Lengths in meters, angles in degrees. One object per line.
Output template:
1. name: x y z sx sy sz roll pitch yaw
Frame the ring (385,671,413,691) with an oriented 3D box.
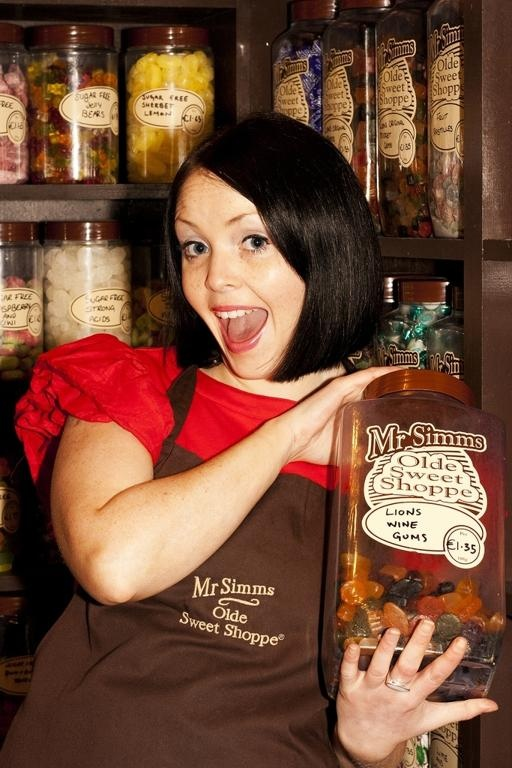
1. ring: 0.127 0.274 0.600 0.026 0.018 0.034 -2 -26 27

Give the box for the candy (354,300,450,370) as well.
1. candy: 0.248 -0.085 1.112 0.102 0.193 0.114 5 6 27

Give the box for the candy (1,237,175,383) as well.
1. candy: -0.306 -0.143 1.482 0.271 0.434 0.279 0 0 17

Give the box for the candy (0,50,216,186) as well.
1. candy: -0.265 -0.495 1.376 0.406 0.341 0.234 0 3 -3
